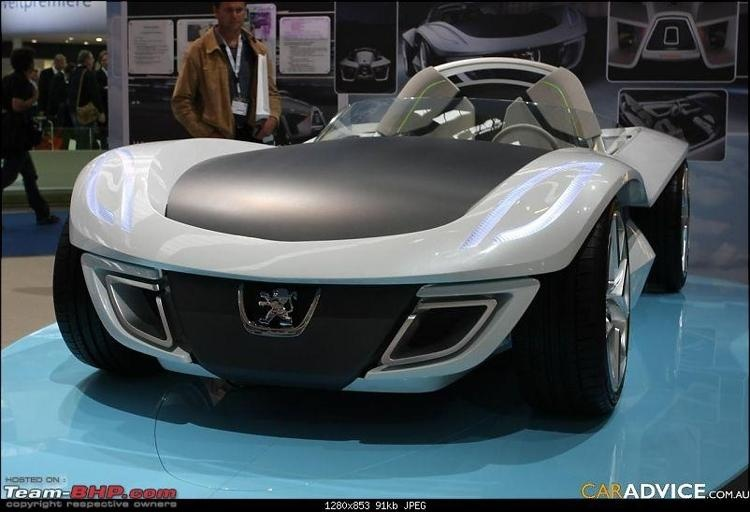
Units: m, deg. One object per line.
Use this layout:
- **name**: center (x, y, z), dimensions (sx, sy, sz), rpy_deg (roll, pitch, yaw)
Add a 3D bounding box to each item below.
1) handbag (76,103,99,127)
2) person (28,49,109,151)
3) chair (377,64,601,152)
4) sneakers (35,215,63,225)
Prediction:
- **handbag**: center (-2.562, -1.263, 4.723), dimensions (0.079, 0.187, 0.183), rpy_deg (3, 22, 29)
- **person**: center (-2.619, -1.352, 4.644), dimensions (0.601, 0.770, 0.235), rpy_deg (-3, 13, -31)
- **chair**: center (0.602, -0.796, 2.734), dimensions (0.597, 0.326, 0.975), rpy_deg (1, 1, 9)
- **sneakers**: center (-2.821, -0.312, 4.578), dimensions (0.206, 0.095, 0.072), rpy_deg (-5, 12, -12)
